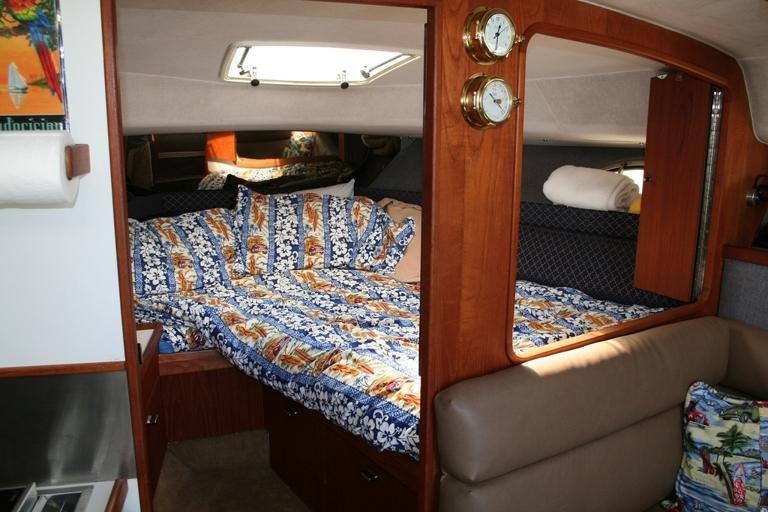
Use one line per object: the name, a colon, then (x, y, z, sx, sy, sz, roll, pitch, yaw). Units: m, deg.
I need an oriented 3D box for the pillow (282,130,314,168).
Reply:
pillow: (-0.592, -0.759, 3.958, 0.228, 0.215, 0.054, 2, 13, -37)

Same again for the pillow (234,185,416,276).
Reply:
pillow: (-0.400, -0.149, 3.545, 0.987, 0.574, 0.253, 0, -6, -13)

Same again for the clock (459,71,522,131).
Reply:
clock: (0.338, -0.509, 1.839, 0.171, 0.173, 0.063, -6, 14, -20)

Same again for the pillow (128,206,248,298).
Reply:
pillow: (-1.163, -0.020, 3.229, 0.545, 0.500, 0.133, -6, -12, -28)

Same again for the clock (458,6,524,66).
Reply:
clock: (0.357, -0.721, 1.835, 0.214, 0.177, 0.063, -7, 15, -25)

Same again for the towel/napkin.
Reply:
towel/napkin: (1.121, -0.402, 3.097, 0.260, 0.134, 0.366, -11, 18, -35)

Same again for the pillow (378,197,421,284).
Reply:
pillow: (0.137, -0.114, 3.746, 0.395, 0.464, 0.137, 15, -25, -17)
